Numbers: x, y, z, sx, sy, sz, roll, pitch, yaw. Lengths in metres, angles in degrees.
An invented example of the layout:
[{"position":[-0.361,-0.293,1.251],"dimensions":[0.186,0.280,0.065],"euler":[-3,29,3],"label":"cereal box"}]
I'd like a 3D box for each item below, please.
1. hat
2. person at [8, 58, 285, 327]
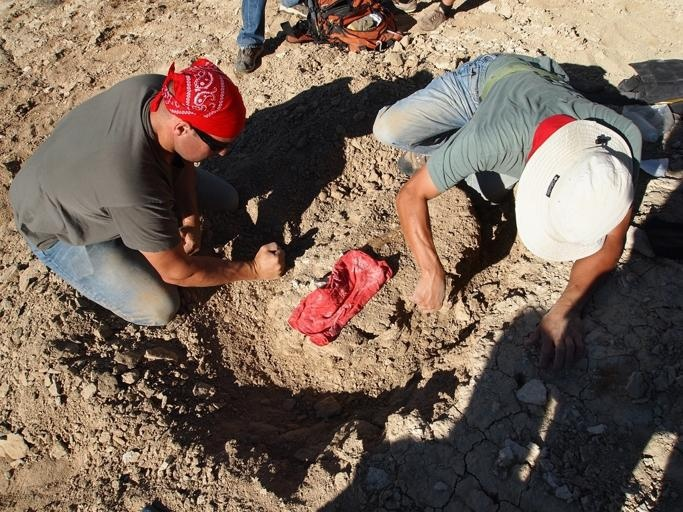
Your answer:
[{"position":[1.237,-0.379,3.548],"dimensions":[0.668,0.236,0.712],"euler":[26,104,-3],"label":"hat"},{"position":[-1.166,-0.314,3.944],"dimensions":[1.459,1.408,1.168],"euler":[19,60,-18],"label":"person"}]
